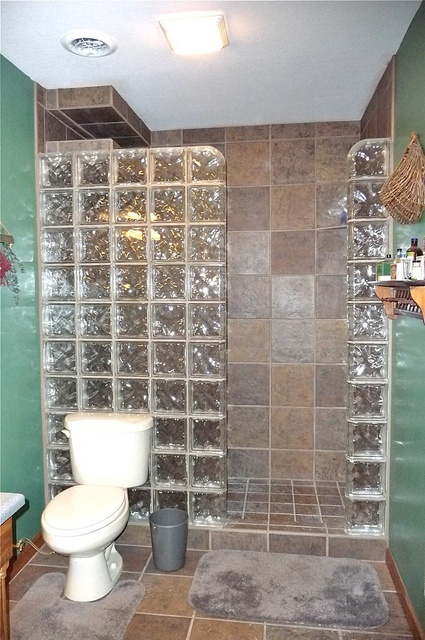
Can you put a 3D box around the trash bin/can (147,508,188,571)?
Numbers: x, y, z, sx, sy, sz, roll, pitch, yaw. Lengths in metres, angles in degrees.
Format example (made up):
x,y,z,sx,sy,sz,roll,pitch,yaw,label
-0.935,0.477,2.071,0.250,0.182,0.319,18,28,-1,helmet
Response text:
x,y,z,sx,sy,sz,roll,pitch,yaw,label
-0.180,1.021,2.503,0.243,0.236,0.224,0,2,1,trash bin/can

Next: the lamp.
x,y,z,sx,sy,sz,roll,pitch,yaw,label
-0.069,-1.160,2.117,0.261,0.063,0.269,0,7,5,lamp

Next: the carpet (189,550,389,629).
x,y,z,sx,sy,sz,roll,pitch,yaw,label
0.325,1.166,2.308,0.829,0.019,0.492,0,7,8,carpet

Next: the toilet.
x,y,z,sx,sy,sz,roll,pitch,yaw,label
-0.505,0.801,2.328,0.511,0.741,0.723,0,-6,7,toilet
